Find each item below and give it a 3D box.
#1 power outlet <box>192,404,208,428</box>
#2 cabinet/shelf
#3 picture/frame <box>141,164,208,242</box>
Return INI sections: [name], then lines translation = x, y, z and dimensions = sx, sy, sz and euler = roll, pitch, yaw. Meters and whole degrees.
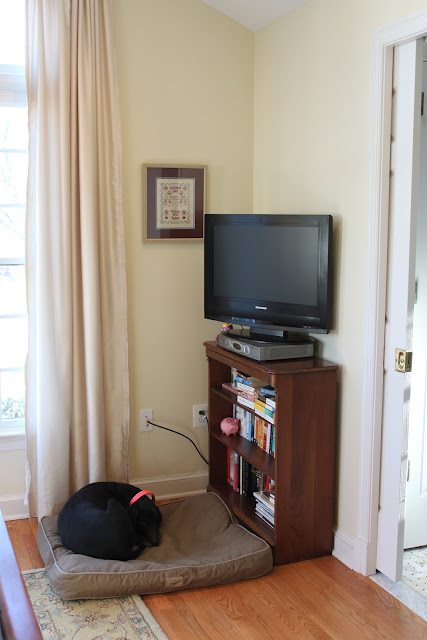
[power outlet]
translation = -0.089, 0.531, 2.772
dimensions = 0.099, 0.150, 0.026
euler = -3, 10, -24
[cabinet/shelf]
translation = 0.264, 0.577, 2.127
dimensions = 0.293, 0.901, 0.690
euler = -2, 6, -17
[picture/frame]
translation = -0.216, -0.618, 2.614
dimensions = 0.334, 0.490, 0.022
euler = -1, -25, -4
